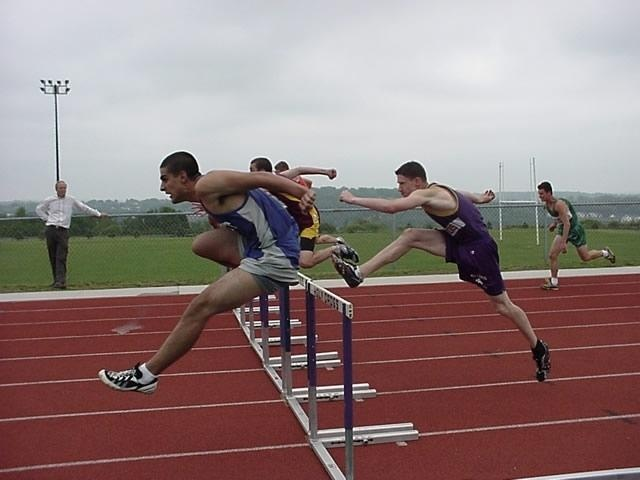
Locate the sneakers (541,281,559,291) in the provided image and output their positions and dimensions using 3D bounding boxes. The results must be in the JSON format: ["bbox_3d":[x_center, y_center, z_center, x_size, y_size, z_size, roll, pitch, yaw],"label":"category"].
[{"bbox_3d":[3.847,0.778,10.125,0.325,0.155,0.123,5,0,11],"label":"sneakers"}]

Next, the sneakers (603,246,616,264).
[{"bbox_3d":[5.755,0.316,11.990,0.153,0.373,0.126,-31,7,13],"label":"sneakers"}]
